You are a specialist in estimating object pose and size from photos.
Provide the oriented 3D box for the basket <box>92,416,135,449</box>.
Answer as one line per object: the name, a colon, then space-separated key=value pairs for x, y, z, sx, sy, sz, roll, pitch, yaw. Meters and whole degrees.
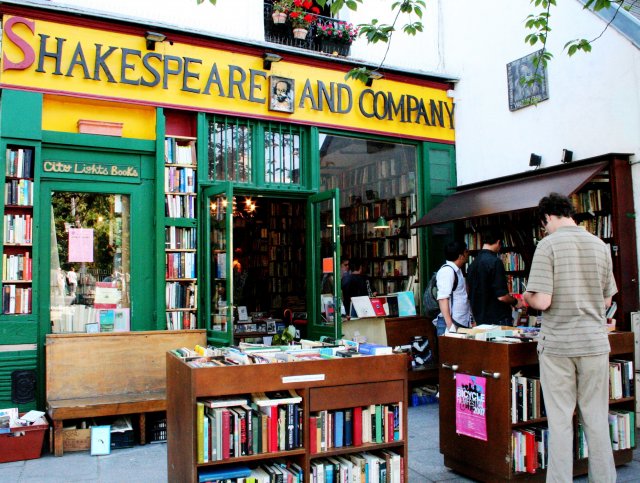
basket: x=-2.184 y=2.057 z=6.939 sx=0.304 sy=0.303 sz=0.299 roll=1 pitch=0 yaw=-26

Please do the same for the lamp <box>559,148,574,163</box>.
lamp: x=3.105 y=-1.066 z=8.021 sx=0.151 sy=0.221 sz=0.155 roll=3 pitch=-2 yaw=-8

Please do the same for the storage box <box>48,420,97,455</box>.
storage box: x=-2.619 y=2.076 z=6.688 sx=0.350 sy=0.287 sz=0.344 roll=5 pitch=-10 yaw=-17

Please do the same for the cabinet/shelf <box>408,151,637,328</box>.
cabinet/shelf: x=2.762 y=0.557 z=8.233 sx=1.688 sy=2.343 sz=3.275 roll=5 pitch=-7 yaw=-20

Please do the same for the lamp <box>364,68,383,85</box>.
lamp: x=0.754 y=-2.316 z=8.900 sx=0.236 sy=0.253 sz=0.507 roll=-3 pitch=-3 yaw=5

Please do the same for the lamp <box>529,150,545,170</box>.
lamp: x=2.827 y=-1.067 z=8.447 sx=0.164 sy=0.244 sz=0.161 roll=2 pitch=-1 yaw=-12

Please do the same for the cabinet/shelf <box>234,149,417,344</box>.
cabinet/shelf: x=0.153 y=0.115 z=9.625 sx=2.623 sy=2.542 sz=1.410 roll=2 pitch=-3 yaw=-43

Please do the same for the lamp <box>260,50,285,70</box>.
lamp: x=-0.641 y=-2.338 z=8.368 sx=0.226 sy=0.301 sz=0.208 roll=-2 pitch=33 yaw=-26

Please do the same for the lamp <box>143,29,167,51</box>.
lamp: x=-2.005 y=-2.391 z=7.706 sx=0.256 sy=0.201 sz=0.251 roll=-12 pitch=-36 yaw=-39

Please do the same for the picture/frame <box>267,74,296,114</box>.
picture/frame: x=-0.528 y=-1.929 z=8.406 sx=0.459 sy=0.548 sz=0.099 roll=8 pitch=-9 yaw=-40
